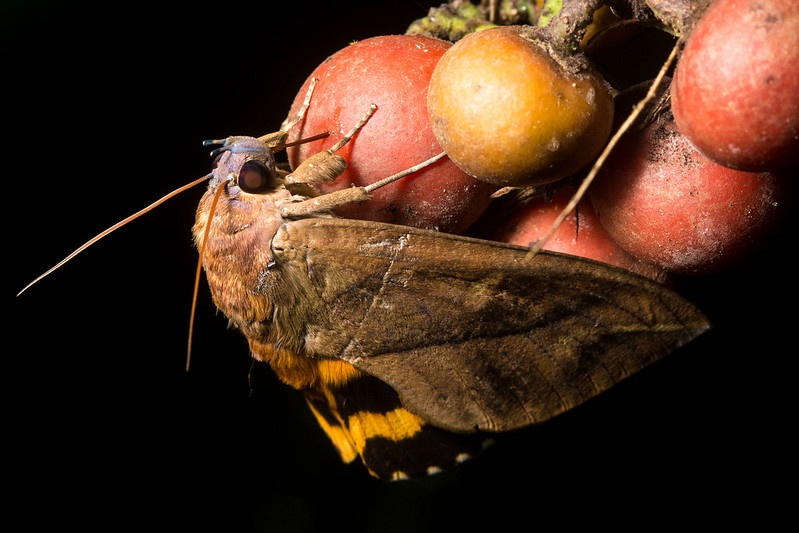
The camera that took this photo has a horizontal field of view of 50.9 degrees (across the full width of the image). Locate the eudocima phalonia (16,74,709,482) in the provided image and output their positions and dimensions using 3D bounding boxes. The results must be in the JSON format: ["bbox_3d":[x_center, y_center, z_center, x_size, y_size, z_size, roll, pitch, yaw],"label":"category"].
[{"bbox_3d":[0.026,-0.152,1.914,0.808,1.452,1.080,0,85,-4],"label":"eudocima phalonia"}]
